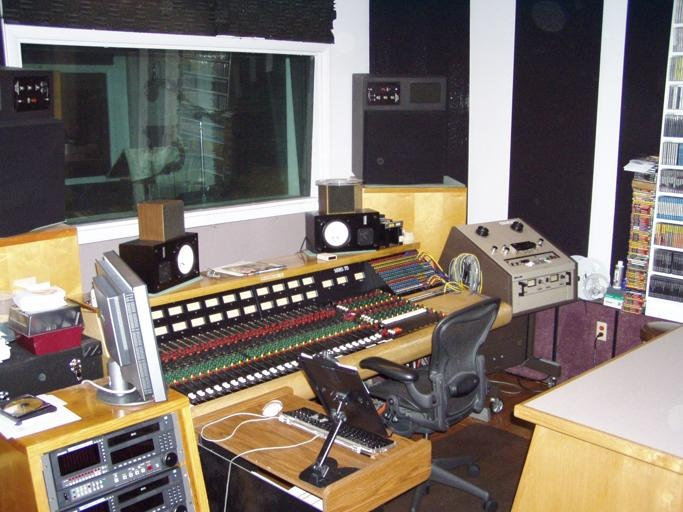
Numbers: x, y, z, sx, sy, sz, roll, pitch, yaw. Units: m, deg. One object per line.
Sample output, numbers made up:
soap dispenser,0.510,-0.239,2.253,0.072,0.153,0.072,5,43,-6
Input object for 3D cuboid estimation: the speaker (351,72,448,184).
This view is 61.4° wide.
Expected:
speaker,0.448,-1.014,4.490,0.894,1.020,0.733,0,20,1

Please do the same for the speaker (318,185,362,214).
speaker,-0.013,-0.384,3.970,0.241,0.160,0.239,-5,12,-21

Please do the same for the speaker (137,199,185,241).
speaker,-0.996,-0.201,3.293,0.210,0.291,0.303,1,11,17

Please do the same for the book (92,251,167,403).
book,-0.923,0.324,2.478,0.161,0.442,0.435,-17,49,-21

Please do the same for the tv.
tv,-0.924,0.327,2.484,0.175,0.451,0.442,-17,46,-21
